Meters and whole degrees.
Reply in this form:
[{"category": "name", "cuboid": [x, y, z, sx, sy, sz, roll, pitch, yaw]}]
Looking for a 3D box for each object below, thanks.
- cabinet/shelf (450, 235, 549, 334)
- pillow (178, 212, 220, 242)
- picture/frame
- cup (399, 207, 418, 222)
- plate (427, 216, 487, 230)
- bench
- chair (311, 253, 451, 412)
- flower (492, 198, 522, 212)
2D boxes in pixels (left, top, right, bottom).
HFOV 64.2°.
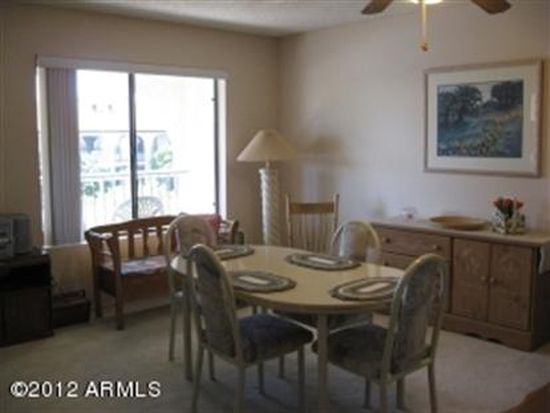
[{"category": "cabinet/shelf", "cuboid": [1.880, 0.628, 3.615, 0.470, 0.944, 0.789, -1, 4, -41]}, {"category": "pillow", "cuboid": [-0.746, 0.162, 4.527, 0.458, 0.478, 0.252, 1, -5, -3]}, {"category": "picture/frame", "cuboid": [1.883, -0.803, 3.927, 1.096, 1.093, 0.047, 3, 5, 41]}, {"category": "cup", "cuboid": [1.284, 0.076, 4.237, 0.117, 0.118, 0.146, -2, -3, 12]}, {"category": "plate", "cuboid": [1.642, 0.150, 3.972, 0.377, 0.060, 0.397, -5, 12, -20]}, {"category": "bench", "cuboid": [-1.026, 0.591, 3.713, 0.314, 0.621, 0.965, 5, 9, 42]}, {"category": "chair", "cuboid": [0.620, 0.746, 2.545, 0.654, 1.046, 0.463, 4, 12, 21]}, {"category": "flower", "cuboid": [1.947, -0.017, 3.692, 0.130, 0.101, 0.158, 3, -3, -32]}]
